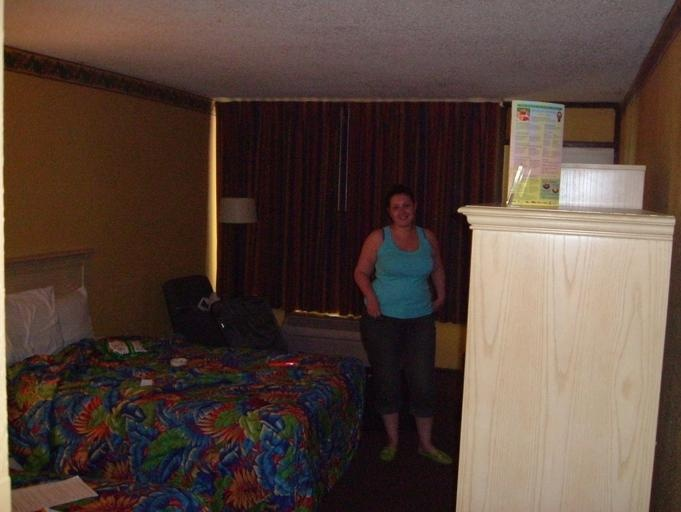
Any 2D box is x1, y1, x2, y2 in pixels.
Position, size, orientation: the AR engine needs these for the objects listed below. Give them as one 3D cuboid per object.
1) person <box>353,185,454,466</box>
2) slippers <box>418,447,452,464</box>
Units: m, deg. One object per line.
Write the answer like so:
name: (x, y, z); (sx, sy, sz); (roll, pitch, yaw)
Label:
person: (0.441, 0.513, 3.923); (0.647, 2.021, 0.383); (-1, 7, 2)
slippers: (0.723, 1.468, 4.039); (0.208, 0.062, 0.101); (1, 10, 31)
